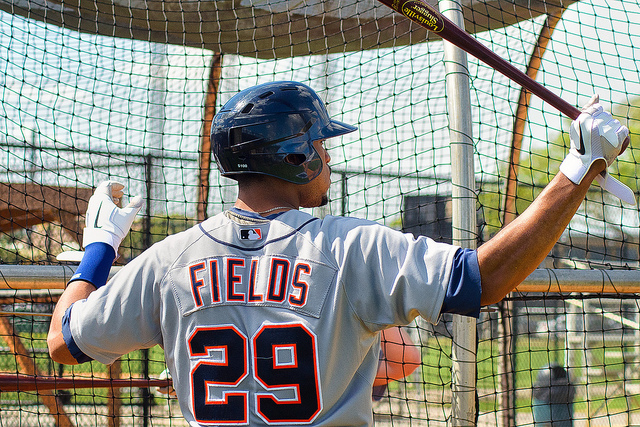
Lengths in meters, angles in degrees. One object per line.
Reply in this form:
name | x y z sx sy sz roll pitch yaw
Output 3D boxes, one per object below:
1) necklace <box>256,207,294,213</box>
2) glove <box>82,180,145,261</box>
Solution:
necklace | -0.551 -0.039 14.037 0.395 0.049 0.025 -6 -13 -9
glove | -2.718 0.100 14.855 0.719 1.192 0.654 8 -31 -31
